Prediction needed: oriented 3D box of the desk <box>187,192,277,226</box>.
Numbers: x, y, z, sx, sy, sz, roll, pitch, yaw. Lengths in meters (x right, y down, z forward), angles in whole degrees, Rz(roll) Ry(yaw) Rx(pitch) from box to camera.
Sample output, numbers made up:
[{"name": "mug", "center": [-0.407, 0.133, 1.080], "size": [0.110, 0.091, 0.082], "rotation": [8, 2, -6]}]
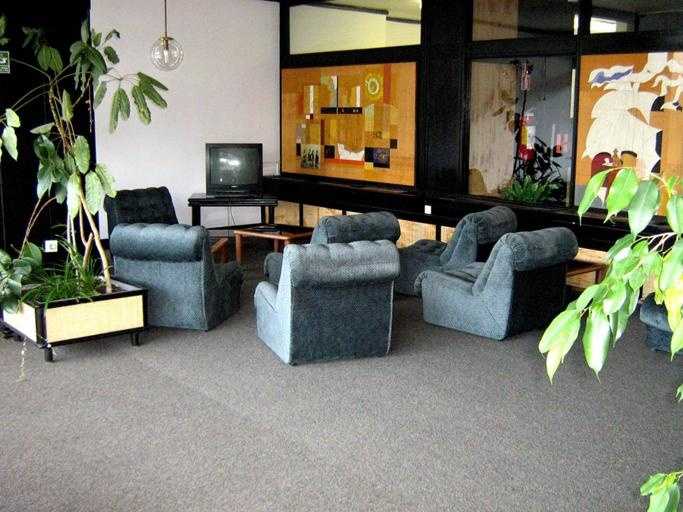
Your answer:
[{"name": "desk", "center": [-1.795, -0.802, 8.892], "size": [1.359, 0.671, 1.801], "rotation": [-1, 14, -7]}]

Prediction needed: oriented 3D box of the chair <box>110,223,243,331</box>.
[{"name": "chair", "center": [-1.659, 0.123, 5.300], "size": [1.002, 0.998, 0.960], "rotation": [3, 8, 10]}]

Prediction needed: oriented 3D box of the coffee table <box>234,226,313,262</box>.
[{"name": "coffee table", "center": [-0.936, -0.315, 7.308], "size": [0.771, 0.470, 0.770], "rotation": [4, 5, 43]}]

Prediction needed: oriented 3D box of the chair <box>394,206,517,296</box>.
[{"name": "chair", "center": [1.234, -0.073, 6.171], "size": [1.438, 1.164, 0.867], "rotation": [7, 21, 39]}]

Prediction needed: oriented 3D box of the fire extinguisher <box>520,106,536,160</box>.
[{"name": "fire extinguisher", "center": [2.721, -1.794, 7.561], "size": [0.213, 0.715, 0.336], "rotation": [3, 14, 11]}]

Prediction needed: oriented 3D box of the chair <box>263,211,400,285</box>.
[{"name": "chair", "center": [-0.029, -0.303, 5.370], "size": [0.916, 0.797, 0.924], "rotation": [-4, 10, -33]}]

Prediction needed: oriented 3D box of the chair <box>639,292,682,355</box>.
[{"name": "chair", "center": [2.815, 0.616, 4.573], "size": [0.356, 0.547, 0.316], "rotation": [-12, 18, -42]}]

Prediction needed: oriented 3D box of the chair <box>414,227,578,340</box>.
[{"name": "chair", "center": [1.614, 0.203, 5.394], "size": [0.994, 1.065, 1.351], "rotation": [-9, 11, -38]}]

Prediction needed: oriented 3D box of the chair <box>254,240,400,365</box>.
[{"name": "chair", "center": [-0.178, 0.226, 4.668], "size": [1.012, 1.057, 1.049], "rotation": [-3, 14, -16]}]

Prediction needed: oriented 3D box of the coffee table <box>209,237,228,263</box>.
[{"name": "coffee table", "center": [-1.628, -0.093, 6.853], "size": [0.318, 0.320, 0.317], "rotation": [-5, 7, -37]}]
